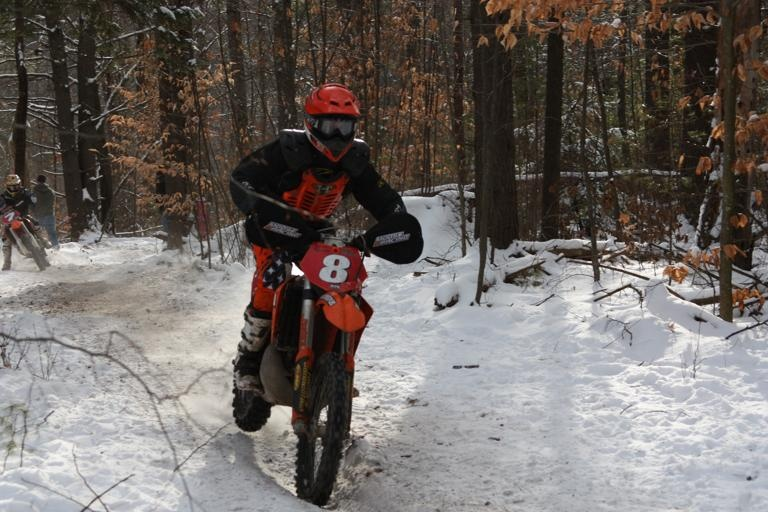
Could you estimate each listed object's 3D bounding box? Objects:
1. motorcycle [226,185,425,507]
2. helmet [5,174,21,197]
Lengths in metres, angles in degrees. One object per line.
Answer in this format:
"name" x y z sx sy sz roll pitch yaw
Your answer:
"motorcycle" -0.935 1.111 9.607 1.560 3.938 0.941 9 12 41
"helmet" -8.878 -1.728 17.855 0.406 0.508 0.554 -4 11 -36
